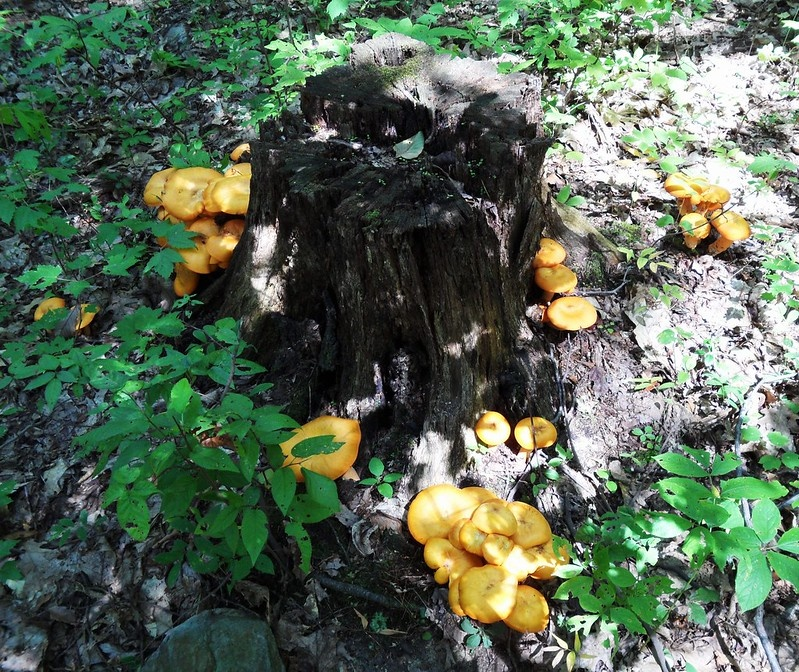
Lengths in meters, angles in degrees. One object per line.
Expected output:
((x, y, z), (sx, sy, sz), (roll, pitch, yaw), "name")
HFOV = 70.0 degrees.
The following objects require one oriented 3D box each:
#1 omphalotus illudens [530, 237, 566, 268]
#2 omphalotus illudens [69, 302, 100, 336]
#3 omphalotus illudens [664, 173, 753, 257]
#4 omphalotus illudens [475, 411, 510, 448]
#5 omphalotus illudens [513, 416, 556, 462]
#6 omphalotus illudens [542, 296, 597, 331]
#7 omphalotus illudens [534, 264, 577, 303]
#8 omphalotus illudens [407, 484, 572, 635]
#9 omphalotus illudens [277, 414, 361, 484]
((1.410, -0.768, 5.402), (0.346, 0.089, 0.263), (11, 67, 14), "omphalotus illudens")
((-3.224, -0.176, 5.851), (0.336, 0.293, 0.291), (4, 59, -15), "omphalotus illudens")
((3.058, -1.215, 5.784), (0.973, 0.364, 0.776), (4, 53, 5), "omphalotus illudens")
((0.797, 0.786, 4.818), (0.364, 0.169, 0.283), (3, 63, 4), "omphalotus illudens")
((1.154, 0.874, 4.873), (0.359, 0.346, 0.273), (10, 41, 13), "omphalotus illudens")
((1.575, -0.192, 5.292), (0.422, 0.253, 0.363), (-1, 38, 0), "omphalotus illudens")
((1.446, -0.527, 5.432), (0.361, 0.328, 0.312), (26, 60, 17), "omphalotus illudens")
((0.681, 1.606, 4.285), (0.893, 0.625, 1.169), (-19, 41, -22), "omphalotus illudens")
((-0.650, 0.895, 4.667), (0.600, 0.292, 0.477), (3, 38, 5), "omphalotus illudens")
